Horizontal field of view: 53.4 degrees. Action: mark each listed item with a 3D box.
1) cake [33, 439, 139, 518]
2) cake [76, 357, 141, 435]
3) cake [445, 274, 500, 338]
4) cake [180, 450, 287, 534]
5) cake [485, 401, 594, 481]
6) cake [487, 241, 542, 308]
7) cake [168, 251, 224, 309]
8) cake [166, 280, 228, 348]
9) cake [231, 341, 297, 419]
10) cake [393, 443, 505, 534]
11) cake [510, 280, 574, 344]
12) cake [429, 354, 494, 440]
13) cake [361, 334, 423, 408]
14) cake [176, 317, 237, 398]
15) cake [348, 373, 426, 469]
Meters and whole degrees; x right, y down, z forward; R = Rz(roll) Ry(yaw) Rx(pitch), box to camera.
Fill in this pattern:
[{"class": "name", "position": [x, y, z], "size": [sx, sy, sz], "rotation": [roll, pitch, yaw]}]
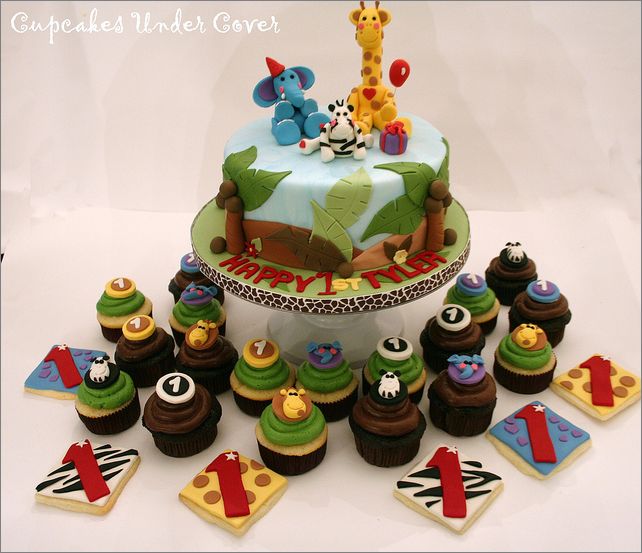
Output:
[{"class": "cake", "position": [-1.687, 1.435, 4.601], "size": [0.575, 0.250, 0.500], "rotation": [1, 29, 15]}, {"class": "cake", "position": [-1.665, 0.935, 4.904], "size": [0.447, 0.619, 0.295], "rotation": [-20, 29, -24]}, {"class": "cake", "position": [1.414, 0.222, 5.838], "size": [0.460, 0.506, 0.514], "rotation": [-8, 35, 11]}, {"class": "cake", "position": [-0.627, 1.516, 4.511], "size": [0.723, 0.228, 0.706], "rotation": [-12, 30, -33]}, {"class": "cake", "position": [1.653, 1.218, 4.826], "size": [0.677, 0.179, 0.729], "rotation": [-15, 32, -5]}, {"class": "cake", "position": [1.826, -0.083, 6.201], "size": [0.445, 0.611, 0.504], "rotation": [-7, 43, -3]}, {"class": "cake", "position": [-1.208, 0.035, 6.246], "size": [0.450, 0.492, 0.492], "rotation": [5, 41, 14]}, {"class": "cake", "position": [-1.083, 0.366, 5.718], "size": [0.477, 0.522, 0.461], "rotation": [-23, 21, -41]}, {"class": "cake", "position": [-0.473, 0.792, 5.107], "size": [0.495, 0.521, 0.499], "rotation": [33, 43, 31]}, {"class": "cake", "position": [0.928, 1.478, 4.482], "size": [0.710, 0.175, 0.755], "rotation": [-15, 21, -23]}, {"class": "cake", "position": [1.969, 0.325, 5.684], "size": [0.530, 0.628, 0.576], "rotation": [3, 28, 10]}, {"class": "cake", "position": [0.999, 0.829, 4.922], "size": [0.503, 0.599, 0.584], "rotation": [2, 39, 5]}, {"class": "cake", "position": [0.563, 0.704, 5.100], "size": [0.447, 0.460, 0.492], "rotation": [-2, 34, 0]}, {"class": "cake", "position": [-0.953, 0.637, 5.264], "size": [0.455, 0.624, 0.514], "rotation": [-5, 33, -11]}, {"class": "cake", "position": [0.471, 0.975, 4.633], "size": [0.544, 0.729, 0.588], "rotation": [0, 33, 0]}]
